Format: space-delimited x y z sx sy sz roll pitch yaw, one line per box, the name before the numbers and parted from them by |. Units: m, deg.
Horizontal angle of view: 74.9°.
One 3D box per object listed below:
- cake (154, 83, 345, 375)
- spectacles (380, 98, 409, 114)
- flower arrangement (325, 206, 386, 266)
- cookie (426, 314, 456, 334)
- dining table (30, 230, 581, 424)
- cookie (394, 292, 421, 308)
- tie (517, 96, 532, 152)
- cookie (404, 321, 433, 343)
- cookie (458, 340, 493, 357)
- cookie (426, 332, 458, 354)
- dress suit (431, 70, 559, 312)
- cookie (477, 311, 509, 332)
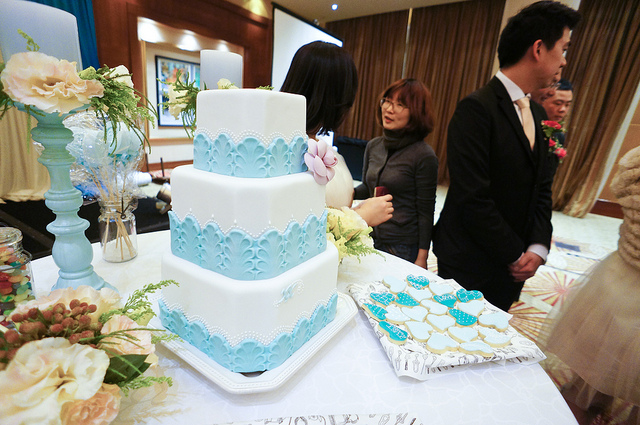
cake | -0.190 -0.071 2.313 1.133 1.393 1.106 -10 21 -38
spectacles | 0.500 -0.752 2.914 0.073 0.094 0.240 -11 24 -30
flower arrangement | 0.187 0.093 2.245 0.241 0.283 0.294 9 18 15
cookie | 0.575 0.522 1.978 0.092 0.021 0.075 2 25 -2
dining table | -0.033 0.407 2.038 2.210 0.532 1.072 2 21 1
cookie | 0.428 0.439 2.082 0.100 0.020 0.060 14 34 20
tie | 1.307 -0.589 2.640 0.142 0.257 0.064 -5 3 -36
cookie | 0.460 0.549 1.930 0.084 0.017 0.086 13 23 35
cookie | 0.703 0.606 1.889 0.148 0.029 0.099 7 22 14
cookie | 0.553 0.598 1.882 0.133 0.038 0.093 9 22 19
dress suit | 1.112 -0.133 2.819 0.687 1.517 0.801 4 16 8
cookie | 0.840 0.515 1.990 0.102 0.024 0.076 6 40 22
